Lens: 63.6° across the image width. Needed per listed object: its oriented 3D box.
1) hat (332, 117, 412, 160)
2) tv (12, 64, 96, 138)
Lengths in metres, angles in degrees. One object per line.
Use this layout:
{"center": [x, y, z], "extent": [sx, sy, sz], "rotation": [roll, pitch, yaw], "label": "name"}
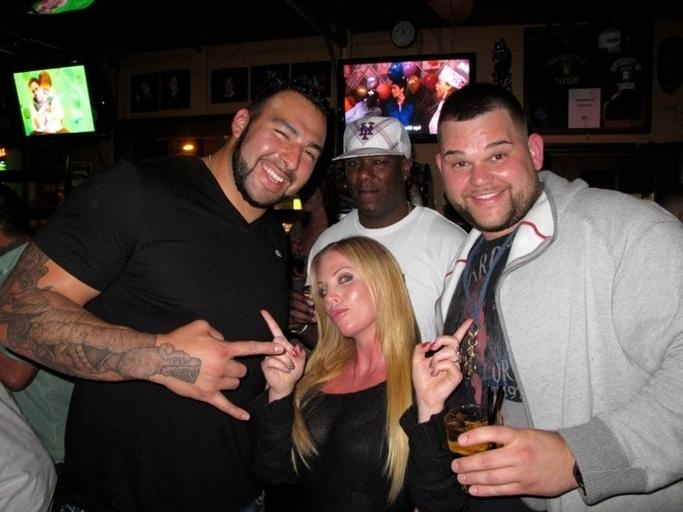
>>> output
{"center": [0.278, -0.844, 4.103], "extent": [0.352, 0.218, 0.455], "rotation": [1, 6, 33], "label": "hat"}
{"center": [-3.555, -1.921, 6.795], "extent": [1.338, 0.886, 0.024], "rotation": [4, 14, 26], "label": "tv"}
